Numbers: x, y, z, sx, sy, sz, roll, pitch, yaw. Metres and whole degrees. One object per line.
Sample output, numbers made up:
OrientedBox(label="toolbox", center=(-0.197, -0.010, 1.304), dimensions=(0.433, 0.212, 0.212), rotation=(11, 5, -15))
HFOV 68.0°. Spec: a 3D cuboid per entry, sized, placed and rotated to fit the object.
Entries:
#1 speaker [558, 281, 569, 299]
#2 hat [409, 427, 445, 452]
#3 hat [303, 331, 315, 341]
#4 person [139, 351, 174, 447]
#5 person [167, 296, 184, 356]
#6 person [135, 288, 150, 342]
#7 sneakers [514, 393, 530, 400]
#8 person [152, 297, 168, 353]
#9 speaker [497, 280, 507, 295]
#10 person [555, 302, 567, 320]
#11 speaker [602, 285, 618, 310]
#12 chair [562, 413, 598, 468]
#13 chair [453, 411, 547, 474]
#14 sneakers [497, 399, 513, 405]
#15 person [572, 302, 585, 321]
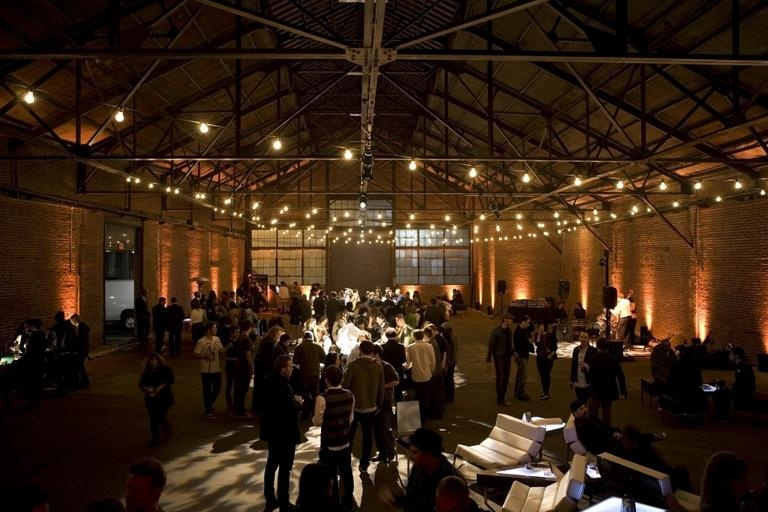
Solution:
OrientedBox(label="speaker", center=(8.388, 1.600, 26.471), dimensions=(0.437, 0.853, 0.701), rotation=(3, 9, 15))
OrientedBox(label="hat", center=(0.629, 2.581, 8.141), dimensions=(0.338, 0.379, 0.431), rotation=(6, 5, 24))
OrientedBox(label="hat", center=(-1.714, 1.847, 12.979), dimensions=(0.229, 0.198, 0.209), rotation=(0, -7, 0))
OrientedBox(label="person", center=(-4.752, 2.981, 11.821), dimensions=(0.609, 2.005, 0.689), rotation=(-6, 12, -34))
OrientedBox(label="person", center=(-6.895, 2.322, 18.763), dimensions=(0.489, 2.009, 0.698), rotation=(-5, 11, -29))
OrientedBox(label="person", center=(-8.543, 2.141, 20.082), dimensions=(0.441, 2.028, 0.726), rotation=(-4, 10, -24))
OrientedBox(label="sneakers", center=(3.573, 3.648, 14.713), dimensions=(0.437, 0.169, 0.127), rotation=(-3, 0, -2))
OrientedBox(label="person", center=(-7.362, 2.313, 18.765), dimensions=(0.427, 1.766, 0.745), rotation=(-4, 10, -21))
OrientedBox(label="speaker", center=(6.044, 1.642, 29.156), dimensions=(0.472, 0.806, 1.132), rotation=(2, 9, 11))
OrientedBox(label="person", center=(8.183, 2.492, 26.327), dimensions=(0.477, 0.865, 1.348), rotation=(3, 9, 15))
OrientedBox(label="speaker", center=(8.400, 1.607, 21.287), dimensions=(0.395, 0.874, 0.741), rotation=(8, 12, 39))
OrientedBox(label="chair", center=(3.723, 3.384, 10.650), dimensions=(0.683, 1.042, 0.772), rotation=(-2, 1, 14))
OrientedBox(label="chair", center=(2.201, 3.710, 10.757), dimensions=(1.360, 0.963, 1.272), rotation=(4, -4, -33))
OrientedBox(label="sneakers", center=(3.086, 3.689, 14.398), dimensions=(0.381, 0.236, 0.121), rotation=(-4, 1, 1))
OrientedBox(label="person", center=(9.017, 2.575, 26.100), dimensions=(0.504, 0.705, 0.500), rotation=(3, 10, 17))
